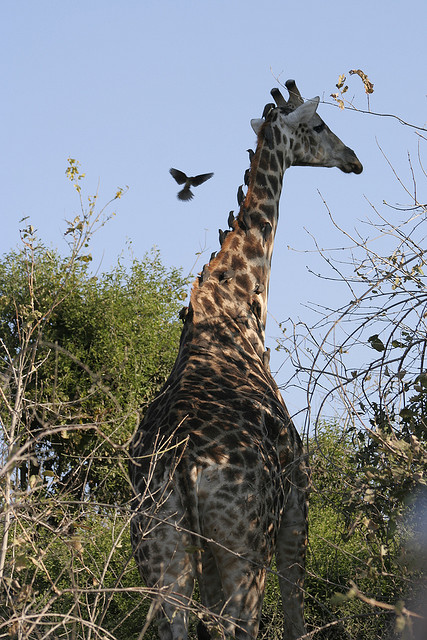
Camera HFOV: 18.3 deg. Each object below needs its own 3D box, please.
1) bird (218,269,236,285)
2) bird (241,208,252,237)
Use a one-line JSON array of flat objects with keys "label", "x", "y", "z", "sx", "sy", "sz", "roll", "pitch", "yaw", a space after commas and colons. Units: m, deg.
[{"label": "bird", "x": 0.091, "y": -0.275, "z": 8.570, "sx": 0.049, "sy": 0.073, "sz": 0.164, "roll": 7, "pitch": 21, "yaw": 19}, {"label": "bird", "x": 0.239, "y": -0.657, "z": 9.078, "sx": 0.100, "sy": 0.210, "sz": 0.041, "roll": 2, "pitch": -3, "yaw": -2}]
